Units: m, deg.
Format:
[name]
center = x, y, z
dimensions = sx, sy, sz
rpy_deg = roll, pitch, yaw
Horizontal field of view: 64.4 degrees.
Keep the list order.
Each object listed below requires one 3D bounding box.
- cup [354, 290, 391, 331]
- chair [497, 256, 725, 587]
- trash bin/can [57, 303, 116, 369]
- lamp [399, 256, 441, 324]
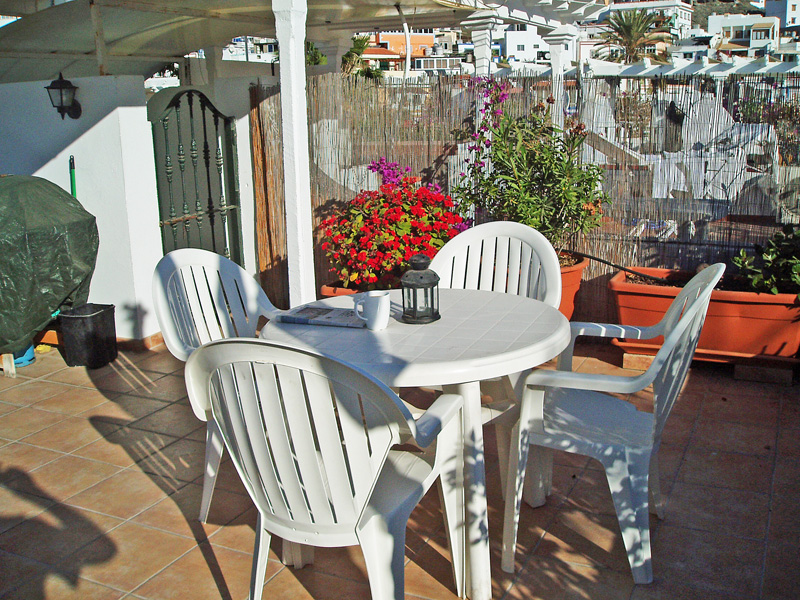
[cup]
center = -0.121, 0.035, 3.019
dimensions = 0.131, 0.183, 0.209
rpy_deg = 12, 22, 38
[chair]
center = 0.953, 0.480, 3.516
dimensions = 1.319, 1.927, 1.403
rpy_deg = 5, 18, 24
[trash bin/can]
center = -2.635, 0.289, 5.392
dimensions = 0.382, 0.473, 0.377
rpy_deg = 4, 18, 15
[lamp]
center = 0.102, -0.090, 3.095
dimensions = 0.252, 0.387, 0.285
rpy_deg = 0, 24, 4
